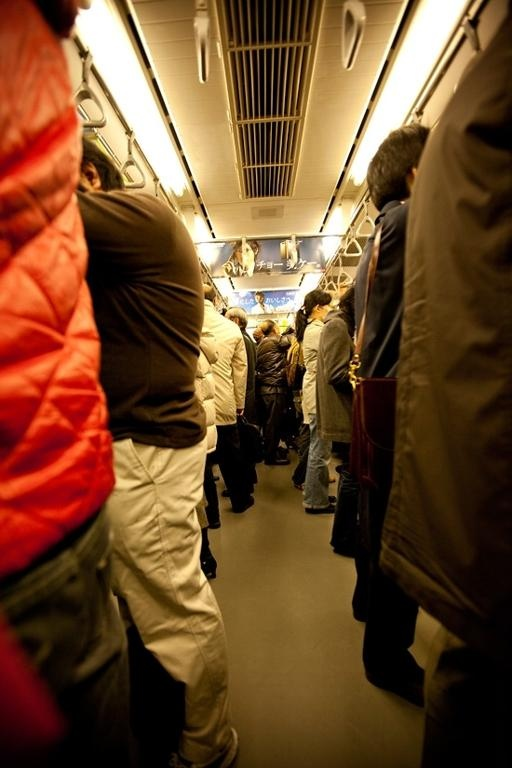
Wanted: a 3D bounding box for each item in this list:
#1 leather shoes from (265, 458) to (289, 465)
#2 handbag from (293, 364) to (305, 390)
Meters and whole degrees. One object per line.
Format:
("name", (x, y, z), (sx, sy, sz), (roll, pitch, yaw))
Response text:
("leather shoes", (0.198, 0.746, 4.756), (0.226, 0.106, 0.083), (-2, -3, -4))
("handbag", (0.380, -0.053, 4.418), (0.056, 0.285, 0.141), (0, 3, -18))
